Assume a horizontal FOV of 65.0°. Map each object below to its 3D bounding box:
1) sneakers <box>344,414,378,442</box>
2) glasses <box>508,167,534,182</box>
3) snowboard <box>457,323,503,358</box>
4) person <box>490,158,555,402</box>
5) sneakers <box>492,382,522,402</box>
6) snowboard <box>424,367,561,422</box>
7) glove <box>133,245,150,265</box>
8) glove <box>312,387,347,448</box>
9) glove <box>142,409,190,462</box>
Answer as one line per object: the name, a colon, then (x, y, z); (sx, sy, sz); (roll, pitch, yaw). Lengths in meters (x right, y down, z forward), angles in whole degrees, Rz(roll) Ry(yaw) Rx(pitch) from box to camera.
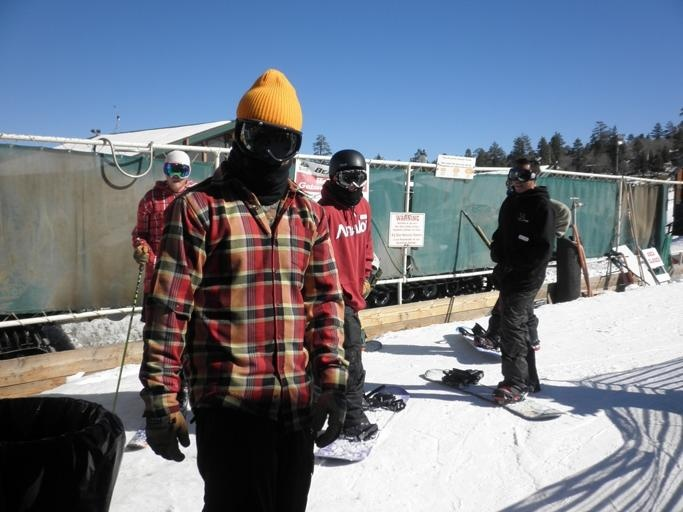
sneakers: (0.172, 1.561, 4.908); (0.383, 0.285, 0.129); (-4, 1, -18)
glasses: (1.993, -0.901, 5.916); (0.195, 0.096, 0.152); (1, 8, -21)
snowboard: (1.817, 1.136, 7.252); (0.195, 0.266, 0.645); (-5, 12, -21)
person: (1.898, 0.211, 5.716); (0.605, 2.354, 1.269); (4, 14, 16)
sneakers: (1.692, 1.394, 5.517); (0.317, 0.161, 0.140); (-2, 6, -20)
snowboard: (1.544, 1.305, 5.649); (0.427, 0.182, 1.607); (0, 2, -23)
glove: (-1.868, -0.024, 5.017); (0.124, 0.175, 0.064); (-20, -8, -1)
glove: (-0.069, 0.984, 3.242); (0.219, 0.328, 0.106); (10, -5, 11)
glove: (-0.953, 1.004, 2.941); (0.208, 0.316, 0.143); (-7, 15, -25)
